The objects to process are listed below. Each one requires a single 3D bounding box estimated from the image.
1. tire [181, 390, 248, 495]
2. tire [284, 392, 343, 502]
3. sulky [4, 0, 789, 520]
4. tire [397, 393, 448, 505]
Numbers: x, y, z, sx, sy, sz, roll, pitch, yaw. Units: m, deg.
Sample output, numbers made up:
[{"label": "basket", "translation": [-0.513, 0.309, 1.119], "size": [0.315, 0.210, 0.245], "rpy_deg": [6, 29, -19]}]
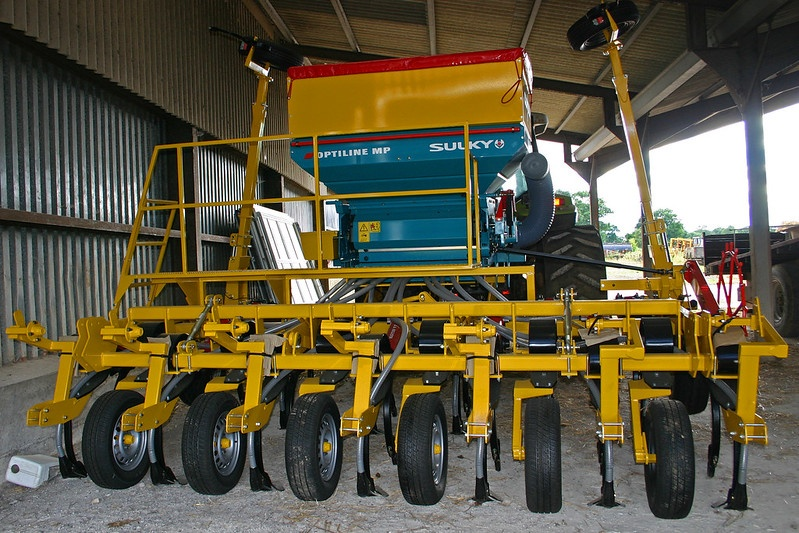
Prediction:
[{"label": "tire", "translation": [-1.735, 1.702, 5.864], "size": [0.280, 0.933, 0.823], "rpy_deg": [-4, -16, 26]}, {"label": "tire", "translation": [-0.777, 1.696, 5.707], "size": [0.273, 0.857, 0.753], "rpy_deg": [0, -23, 15]}, {"label": "sulky", "translation": [0.407, 0.434, 8.699], "size": [6.764, 4.209, 6.581], "rpy_deg": [-1, -1, 10]}, {"label": "tire", "translation": [0.213, 1.697, 5.703], "size": [0.423, 0.975, 0.500], "rpy_deg": [0, 13, 8]}]
